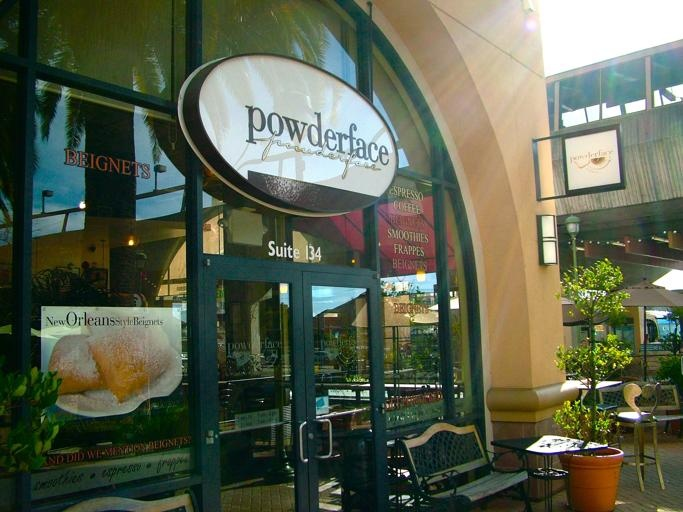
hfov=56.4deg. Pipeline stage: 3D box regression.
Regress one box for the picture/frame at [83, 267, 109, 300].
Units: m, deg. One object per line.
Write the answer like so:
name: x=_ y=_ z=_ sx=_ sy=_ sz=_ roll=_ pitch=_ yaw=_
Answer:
picture/frame: x=-2.134 y=0.245 z=5.479 sx=0.073 sy=0.238 sz=0.238 roll=-2 pitch=-6 yaw=27
